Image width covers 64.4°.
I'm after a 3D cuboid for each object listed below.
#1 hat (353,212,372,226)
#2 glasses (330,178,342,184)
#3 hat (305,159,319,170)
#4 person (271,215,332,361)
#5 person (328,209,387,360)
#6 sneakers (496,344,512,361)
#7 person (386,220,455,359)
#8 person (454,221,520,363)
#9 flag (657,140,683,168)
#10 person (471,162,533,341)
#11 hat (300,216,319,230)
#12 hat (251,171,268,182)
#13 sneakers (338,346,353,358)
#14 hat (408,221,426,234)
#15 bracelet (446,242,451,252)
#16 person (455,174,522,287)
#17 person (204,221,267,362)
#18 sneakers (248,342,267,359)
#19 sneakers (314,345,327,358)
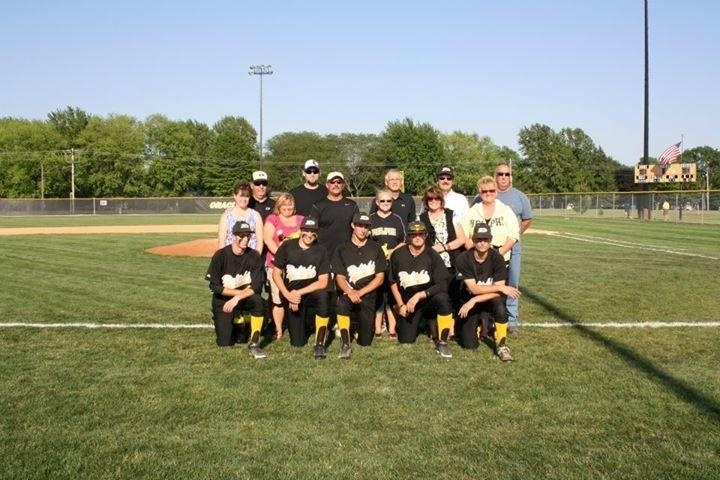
[{"bbox_3d":[0.006,-0.267,7.431,0.196,0.152,0.282,0,4,-6],"label":"hat"},{"bbox_3d":[-0.336,-0.813,7.852,0.183,0.077,0.107,0,4,-5],"label":"glasses"},{"bbox_3d":[-0.716,-1.101,8.370,0.180,0.169,0.523,0,4,-3],"label":"hat"},{"bbox_3d":[-0.765,0.551,7.344,0.756,1.671,0.706,0,3,6],"label":"person"},{"bbox_3d":[0.005,0.510,7.483,0.698,1.693,0.365,-1,3,-11],"label":"person"},{"bbox_3d":[1.751,1.354,6.965,0.194,0.167,0.229,1,4,13],"label":"sneakers"},{"bbox_3d":[0.817,0.579,7.459,0.952,1.612,0.481,2,4,35],"label":"person"},{"bbox_3d":[1.639,0.589,7.387,0.910,1.627,0.761,3,5,43],"label":"person"},{"bbox_3d":[19.569,-5.430,36.235,1.089,1.369,2.962,2,4,27],"label":"flag"},{"bbox_3d":[1.906,0.310,8.361,0.917,2.301,0.745,-2,11,17],"label":"person"},{"bbox_3d":[-0.662,-0.211,7.375,0.212,0.168,0.184,-1,4,-11],"label":"hat"},{"bbox_3d":[-1.446,-0.913,8.232,0.187,0.124,0.246,4,4,-27],"label":"hat"},{"bbox_3d":[-0.183,1.362,7.125,0.153,0.134,0.289,1,4,9],"label":"sneakers"},{"bbox_3d":[0.725,-0.161,7.415,0.208,0.143,0.269,0,4,1],"label":"hat"},{"bbox_3d":[1.190,0.090,7.756,0.089,0.118,0.039,6,-3,10],"label":"bracelet"},{"bbox_3d":[1.822,0.174,8.039,0.913,2.120,0.810,-3,16,3],"label":"person"},{"bbox_3d":[-1.491,0.568,7.389,0.834,1.628,0.528,2,4,31],"label":"person"},{"bbox_3d":[-1.267,1.342,7.103,0.204,0.157,0.342,-1,4,-15],"label":"sneakers"},{"bbox_3d":[-0.495,1.360,7.032,0.140,0.143,0.123,-1,3,-10],"label":"sneakers"}]
